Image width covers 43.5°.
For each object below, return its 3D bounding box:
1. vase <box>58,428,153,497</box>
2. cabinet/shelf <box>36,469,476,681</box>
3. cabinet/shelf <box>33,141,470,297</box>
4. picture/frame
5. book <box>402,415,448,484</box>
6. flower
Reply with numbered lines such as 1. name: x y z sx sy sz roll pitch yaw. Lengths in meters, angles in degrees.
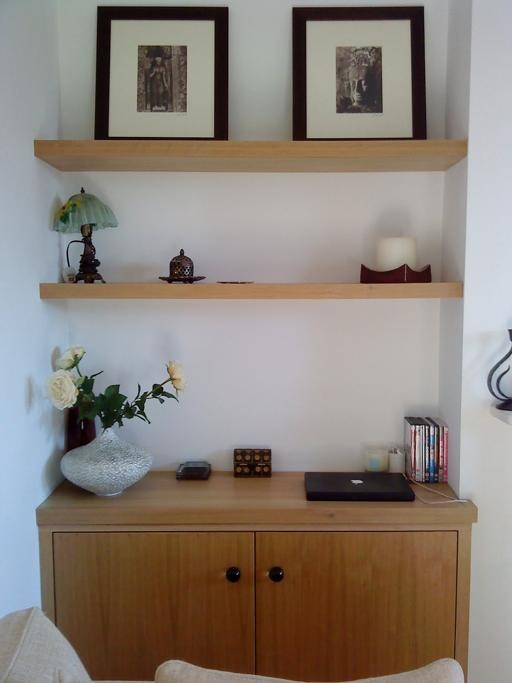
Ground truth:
1. vase: -0.440 0.353 1.984 0.198 0.146 0.236 1 -1 8
2. cabinet/shelf: -0.002 0.738 1.862 1.240 0.521 0.240 1 8 10
3. cabinet/shelf: -0.014 -0.364 1.996 1.262 0.492 0.297 0 8 1
4. picture/frame: 0.008 -0.857 2.027 1.043 0.437 0.087 0 8 2
5. book: 0.545 0.361 2.177 0.155 0.275 0.268 0 5 7
6. flower: -0.436 0.159 2.051 0.400 0.309 0.404 -2 8 -13
